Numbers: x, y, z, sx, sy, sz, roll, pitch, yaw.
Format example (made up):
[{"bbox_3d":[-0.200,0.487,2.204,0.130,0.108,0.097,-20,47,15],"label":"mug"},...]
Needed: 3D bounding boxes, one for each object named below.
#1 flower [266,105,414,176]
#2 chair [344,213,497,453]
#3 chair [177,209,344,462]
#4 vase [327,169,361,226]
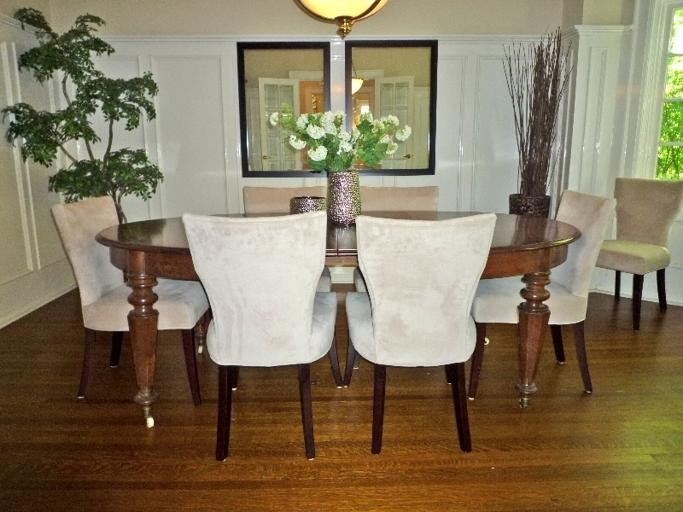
[{"bbox_3d":[0.019,-0.683,3.500,0.648,0.372,0.501,-15,32,-22],"label":"flower"},{"bbox_3d":[0.384,0.371,2.943,0.695,1.260,0.366,-2,18,-1],"label":"chair"},{"bbox_3d":[-0.364,0.388,2.888,0.691,1.274,0.380,-4,18,-7],"label":"chair"},{"bbox_3d":[0.010,-0.371,3.466,0.209,0.309,0.211,0,16,1],"label":"vase"}]
